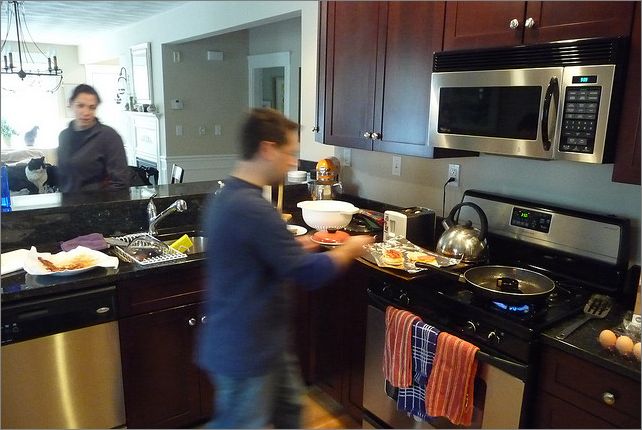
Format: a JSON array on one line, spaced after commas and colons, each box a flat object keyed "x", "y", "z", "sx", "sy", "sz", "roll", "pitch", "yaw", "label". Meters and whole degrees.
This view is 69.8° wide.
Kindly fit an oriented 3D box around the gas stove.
[{"x": 1.102, "y": 0.377, "z": 2.438, "sx": 0.727, "sy": 0.386, "sz": 0.811, "roll": -11, "pitch": 17, "yaw": -34, "label": "gas stove"}]

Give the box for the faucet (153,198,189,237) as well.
[{"x": -1.051, "y": 0.009, "z": 3.134, "sx": 0.250, "sy": 0.281, "sz": 0.402, "roll": -7, "pitch": 16, "yaw": -18, "label": "faucet"}]

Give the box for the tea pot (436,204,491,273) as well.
[{"x": 0.872, "y": 0.092, "z": 2.798, "sx": 0.340, "sy": 0.338, "sz": 0.280, "roll": 15, "pitch": 22, "yaw": 43, "label": "tea pot"}]

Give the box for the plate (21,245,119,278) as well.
[{"x": -1.436, "y": 0.250, "z": 2.644, "sx": 0.461, "sy": 0.143, "sz": 0.267, "roll": -10, "pitch": 17, "yaw": -29, "label": "plate"}]

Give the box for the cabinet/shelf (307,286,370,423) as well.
[{"x": 0.250, "y": 0.815, "z": 3.220, "sx": 0.380, "sy": 0.737, "sz": 0.444, "roll": -18, "pitch": -12, "yaw": 7, "label": "cabinet/shelf"}]

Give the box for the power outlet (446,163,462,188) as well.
[{"x": 0.907, "y": -0.273, "z": 3.132, "sx": 0.027, "sy": 0.233, "sz": 0.134, "roll": -11, "pitch": 18, "yaw": -36, "label": "power outlet"}]

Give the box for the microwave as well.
[{"x": 1.119, "y": -0.622, "z": 2.571, "sx": 0.494, "sy": 0.567, "sz": 0.965, "roll": -12, "pitch": 20, "yaw": -40, "label": "microwave"}]

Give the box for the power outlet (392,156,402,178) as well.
[{"x": 0.571, "y": -0.372, "z": 3.467, "sx": 0.012, "sy": 0.147, "sz": 0.092, "roll": -15, "pitch": 20, "yaw": -41, "label": "power outlet"}]

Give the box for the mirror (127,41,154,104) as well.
[{"x": -2.793, "y": -2.230, "z": 7.154, "sx": 0.080, "sy": 1.123, "sz": 0.990, "roll": -7, "pitch": 17, "yaw": -37, "label": "mirror"}]

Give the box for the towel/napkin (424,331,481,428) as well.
[{"x": 0.664, "y": 0.843, "z": 2.355, "sx": 0.235, "sy": 0.443, "sz": 0.118, "roll": 6, "pitch": 17, "yaw": 29, "label": "towel/napkin"}]

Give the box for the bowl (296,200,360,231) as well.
[{"x": 0.026, "y": 0.021, "z": 3.269, "sx": 0.489, "sy": 0.170, "sz": 0.334, "roll": 8, "pitch": 14, "yaw": 31, "label": "bowl"}]

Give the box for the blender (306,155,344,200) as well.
[{"x": 0.042, "y": -0.294, "z": 3.734, "sx": 0.244, "sy": 0.389, "sz": 0.309, "roll": -10, "pitch": 16, "yaw": -36, "label": "blender"}]
